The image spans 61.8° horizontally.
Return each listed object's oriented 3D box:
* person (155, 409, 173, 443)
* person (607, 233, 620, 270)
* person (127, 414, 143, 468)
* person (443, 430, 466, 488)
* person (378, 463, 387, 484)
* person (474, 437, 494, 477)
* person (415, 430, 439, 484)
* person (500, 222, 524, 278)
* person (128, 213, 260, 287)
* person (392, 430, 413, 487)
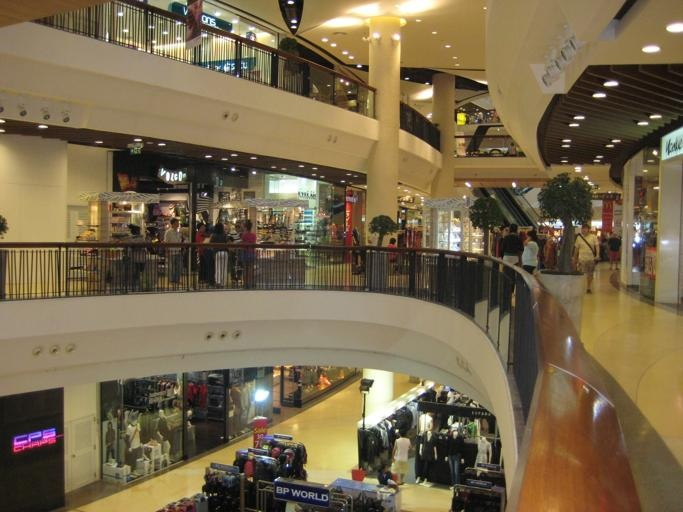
[{"bbox_3d":[-4.562,4.336,14.709,0.125,0.861,0.368,0,6,40],"label":"person"},{"bbox_3d":[10.060,-0.164,20.959,0.340,1.105,1.783,-2,6,27],"label":"person"},{"bbox_3d":[-5.163,4.571,14.258,0.372,1.204,0.411,-6,5,-21],"label":"person"},{"bbox_3d":[2.749,4.781,13.567,0.404,1.271,0.405,-4,5,4],"label":"person"},{"bbox_3d":[0.917,4.809,12.474,0.231,0.329,0.842,-1,-6,5],"label":"person"},{"bbox_3d":[3.288,4.628,13.247,0.355,0.946,0.234,6,13,22],"label":"person"},{"bbox_3d":[2.068,4.832,13.843,0.534,1.213,0.319,-4,5,6],"label":"person"},{"bbox_3d":[3.271,-0.226,10.894,0.376,0.836,0.839,-3,5,15],"label":"person"},{"bbox_3d":[-2.825,0.207,11.270,2.372,1.174,0.389,-8,6,-27],"label":"person"},{"bbox_3d":[1.493,4.887,14.151,0.409,1.210,1.477,-4,5,5],"label":"person"}]
